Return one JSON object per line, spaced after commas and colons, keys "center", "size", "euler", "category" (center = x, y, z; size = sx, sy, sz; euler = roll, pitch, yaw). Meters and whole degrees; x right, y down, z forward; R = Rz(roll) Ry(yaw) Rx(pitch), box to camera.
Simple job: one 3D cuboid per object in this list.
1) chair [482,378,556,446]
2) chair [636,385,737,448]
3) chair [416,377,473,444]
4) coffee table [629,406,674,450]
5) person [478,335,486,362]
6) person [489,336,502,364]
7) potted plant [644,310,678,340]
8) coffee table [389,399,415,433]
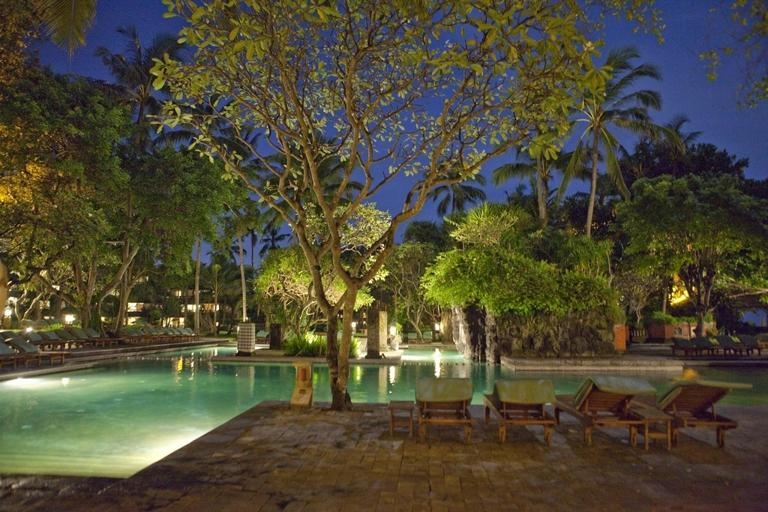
{"center": [2.916, 3.419, 11.760], "size": [1.199, 1.330, 2.428], "euler": [1, -7, -1], "category": "chair"}
{"center": [6.487, 3.271, 11.149], "size": [1.140, 1.181, 1.960], "euler": [1, -7, 6], "category": "chair"}
{"center": [1.249, 3.240, 11.093], "size": [1.171, 1.243, 1.145], "euler": [0, -10, 5], "category": "chair"}
{"center": [5.686, 3.637, 10.893], "size": [0.517, 0.552, 1.598], "euler": [-10, -16, 16], "category": "coffee table"}
{"center": [4.572, 4.292, 24.294], "size": [0.123, 1.139, 0.391], "euler": [7, -11, -36], "category": "person"}
{"center": [4.904, 4.123, 22.860], "size": [0.240, 1.161, 0.622], "euler": [3, -10, -17], "category": "person"}
{"center": [17.484, 4.451, 33.042], "size": [1.543, 1.993, 1.972], "euler": [5, -11, -23], "category": "potted plant"}
{"center": [0.393, 3.607, 11.744], "size": [0.565, 0.642, 1.617], "euler": [0, -12, 2], "category": "coffee table"}
